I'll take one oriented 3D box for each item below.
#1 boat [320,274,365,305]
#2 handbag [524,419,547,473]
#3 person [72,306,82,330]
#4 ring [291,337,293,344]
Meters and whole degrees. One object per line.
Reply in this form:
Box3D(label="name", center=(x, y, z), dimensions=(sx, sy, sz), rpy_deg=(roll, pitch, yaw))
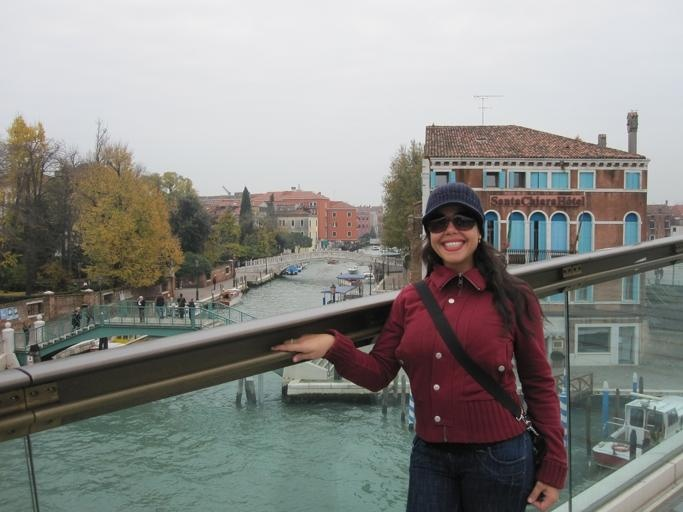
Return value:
Box3D(label="boat", center=(0.371, 3.059, 54.223), dimensions=(1.857, 2.642, 9.202), rpy_deg=(2, 9, 12))
Box3D(label="handbag", center=(0.734, 0.716, 2.331), dimensions=(0.053, 0.171, 0.116), rpy_deg=(-11, 22, -12))
Box3D(label="person", center=(-10.723, 2.646, 25.143), dimensions=(0.379, 0.750, 0.676), rpy_deg=(-2, 1, -25))
Box3D(label="ring", center=(-0.175, 0.303, 2.211), dimensions=(0.013, 0.013, 0.008), rpy_deg=(-1, 1, -9))
